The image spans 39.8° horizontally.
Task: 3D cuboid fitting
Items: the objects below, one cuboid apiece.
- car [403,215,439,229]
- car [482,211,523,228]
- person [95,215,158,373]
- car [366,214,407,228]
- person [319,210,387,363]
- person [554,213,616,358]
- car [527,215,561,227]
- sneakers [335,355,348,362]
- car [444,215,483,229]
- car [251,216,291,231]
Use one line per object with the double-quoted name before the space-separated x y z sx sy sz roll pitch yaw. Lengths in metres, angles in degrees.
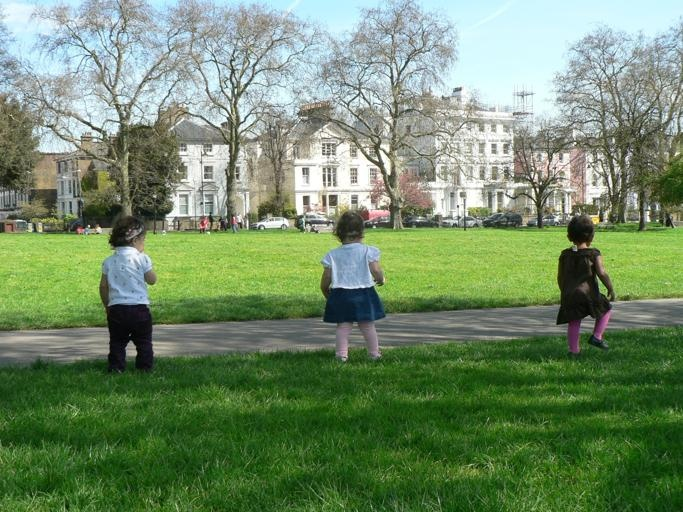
"car" 5.957 -2.636 72.706 1.688 0.831 1.159 -3 8 -1
"car" 12.657 -2.811 74.311 2.573 1.259 1.471 2 -1 -11
"person" -2.580 0.439 11.446 0.656 1.875 0.469 0 -1 -6
"car" 3.188 -2.558 72.270 2.432 0.963 1.372 2 2 -9
"person" 0.134 0.368 11.885 0.775 1.882 0.760 0 -1 0
"person" 3.125 0.362 12.136 0.688 1.773 0.546 -1 -1 15
"car" 16.136 -2.774 74.999 2.897 1.043 1.551 2 -1 -34
"sneakers" 0.012 1.277 11.777 0.066 0.079 0.110 6 -3 -33
"car" 9.476 -2.704 74.125 2.995 1.152 9.920 0 -1 7
"car" -5.402 -2.804 71.647 3.055 1.098 1.453 2 -3 -31
